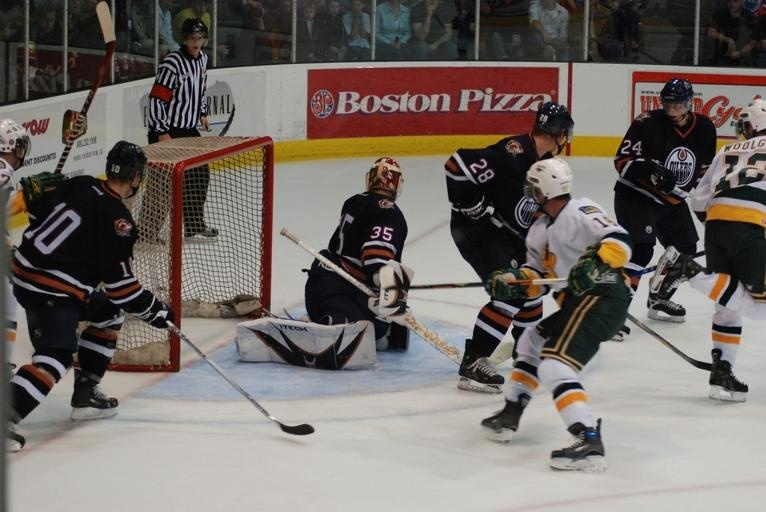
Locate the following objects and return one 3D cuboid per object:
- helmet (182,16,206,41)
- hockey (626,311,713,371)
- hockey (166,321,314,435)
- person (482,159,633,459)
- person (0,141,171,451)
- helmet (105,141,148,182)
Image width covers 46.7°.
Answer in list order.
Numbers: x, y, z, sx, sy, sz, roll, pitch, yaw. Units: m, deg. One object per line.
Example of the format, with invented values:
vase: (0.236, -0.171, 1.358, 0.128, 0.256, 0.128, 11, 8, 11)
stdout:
helmet: (-1.513, -1.832, 7.106, 0.177, 0.168, 0.224, -1, -5, -10)
hockey: (1.824, 0.555, 5.647, 0.608, 0.089, 0.066, 33, 55, 6)
hockey: (-0.764, 0.685, 4.866, 0.768, 0.091, 0.101, 40, 4, 15)
person: (0.858, 0.245, 4.348, 0.672, 1.410, 0.622, 7, 15, 35)
person: (-1.455, 0.170, 4.338, 0.820, 1.408, 0.443, -6, 13, -20)
helmet: (-1.252, -0.485, 4.438, 0.168, 0.195, 0.210, 8, 23, -3)
